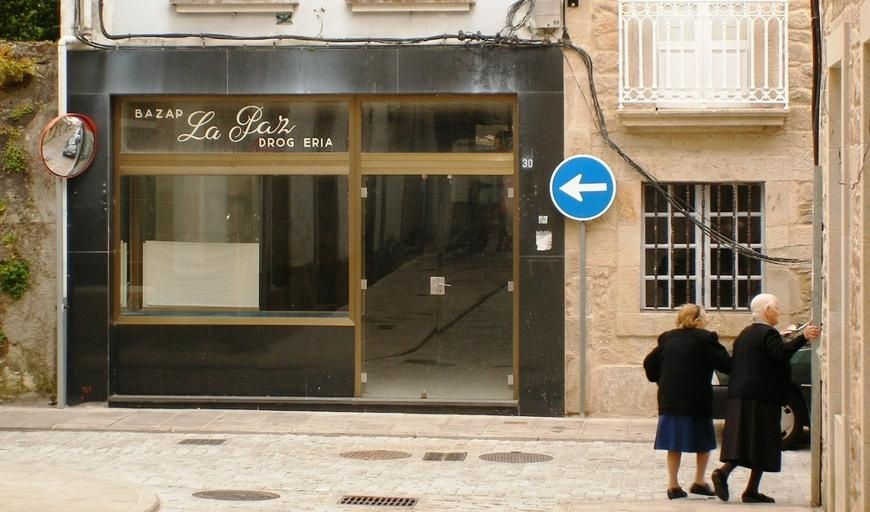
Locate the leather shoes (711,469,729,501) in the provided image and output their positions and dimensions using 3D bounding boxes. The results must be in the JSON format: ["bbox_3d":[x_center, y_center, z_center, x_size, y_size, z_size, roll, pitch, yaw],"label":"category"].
[{"bbox_3d":[3.895,3.137,18.790,0.208,0.437,0.199,-16,1,-41],"label":"leather shoes"}]

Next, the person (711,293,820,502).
[{"bbox_3d":[4.422,1.932,18.683,1.276,2.805,0.606,-1,-1,17],"label":"person"}]

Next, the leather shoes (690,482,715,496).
[{"bbox_3d":[3.700,3.216,19.035,0.370,0.123,0.172,0,1,0],"label":"leather shoes"}]

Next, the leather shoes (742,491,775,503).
[{"bbox_3d":[4.425,3.279,18.759,0.476,0.134,0.154,-1,1,-4],"label":"leather shoes"}]

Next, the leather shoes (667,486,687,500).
[{"bbox_3d":[3.337,3.242,18.845,0.280,0.097,0.135,-3,4,-43],"label":"leather shoes"}]
